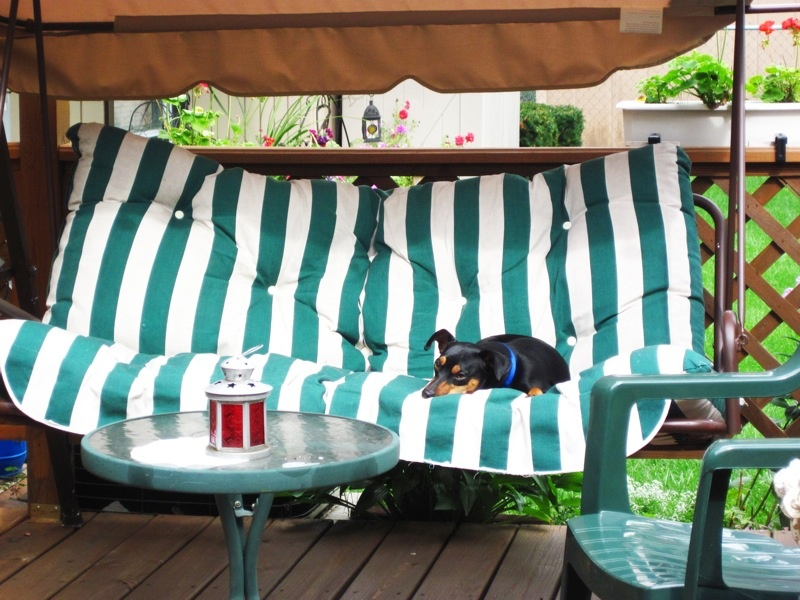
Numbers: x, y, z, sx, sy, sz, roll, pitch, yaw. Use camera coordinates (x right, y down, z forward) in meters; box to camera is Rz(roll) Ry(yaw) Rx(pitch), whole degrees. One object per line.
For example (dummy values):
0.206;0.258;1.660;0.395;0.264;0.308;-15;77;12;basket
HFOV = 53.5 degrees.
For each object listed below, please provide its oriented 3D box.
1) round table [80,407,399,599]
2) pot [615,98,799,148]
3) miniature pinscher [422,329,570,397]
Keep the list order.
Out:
-0.313;0.382;1.744;0.492;0.357;0.523;0;8;0;round table
1.246;-0.701;3.221;0.438;0.158;0.326;0;5;10;pot
0.330;0.209;2.537;0.231;0.118;0.295;-1;1;41;miniature pinscher
